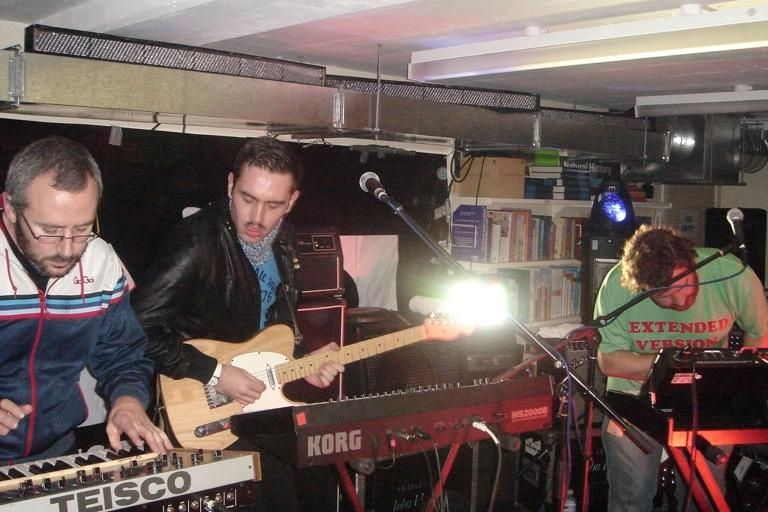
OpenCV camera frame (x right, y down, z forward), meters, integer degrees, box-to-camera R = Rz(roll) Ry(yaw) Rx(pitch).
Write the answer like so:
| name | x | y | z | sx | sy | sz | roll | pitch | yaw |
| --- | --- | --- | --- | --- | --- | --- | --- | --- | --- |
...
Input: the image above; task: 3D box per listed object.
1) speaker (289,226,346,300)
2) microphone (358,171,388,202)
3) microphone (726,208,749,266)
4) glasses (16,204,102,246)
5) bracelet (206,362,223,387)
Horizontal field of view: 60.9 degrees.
| name | x | y | z | sx | sy | sz | roll | pitch | yaw |
| --- | --- | --- | --- | --- | --- | --- | --- | --- | --- |
| speaker | -0.404 | 0.053 | 3.910 | 0.419 | 0.392 | 0.280 | -11 | 2 | -44 |
| microphone | -0.053 | -0.307 | 2.959 | 0.088 | 0.084 | 0.266 | 26 | 13 | -27 |
| microphone | 1.656 | -0.090 | 3.065 | 0.073 | 0.257 | 0.332 | 1 | 4 | 29 |
| glasses | -1.291 | -0.108 | 2.580 | 0.235 | 0.129 | 0.083 | -3 | 4 | -25 |
| bracelet | -0.839 | 0.597 | 3.274 | 0.080 | 0.118 | 0.038 | -3 | 4 | -17 |
